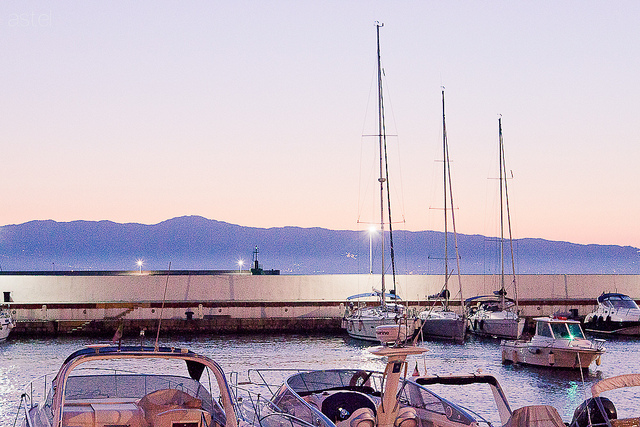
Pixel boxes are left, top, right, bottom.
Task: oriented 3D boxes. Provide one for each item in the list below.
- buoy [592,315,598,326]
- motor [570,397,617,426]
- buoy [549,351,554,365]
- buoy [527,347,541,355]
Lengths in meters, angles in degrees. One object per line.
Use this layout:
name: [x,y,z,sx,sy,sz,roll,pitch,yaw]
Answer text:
buoy: [21.458,8.397,75.744,0.377,0.692,0.176,7,1,38]
motor: [12.077,8.744,42.865,1.764,1.455,1.248,-9,-18,19]
buoy: [13.994,8.743,58.681,0.299,0.785,0.179,-4,-13,5]
buoy: [13.115,8.428,59.435,0.169,0.458,0.899,6,-15,-33]
